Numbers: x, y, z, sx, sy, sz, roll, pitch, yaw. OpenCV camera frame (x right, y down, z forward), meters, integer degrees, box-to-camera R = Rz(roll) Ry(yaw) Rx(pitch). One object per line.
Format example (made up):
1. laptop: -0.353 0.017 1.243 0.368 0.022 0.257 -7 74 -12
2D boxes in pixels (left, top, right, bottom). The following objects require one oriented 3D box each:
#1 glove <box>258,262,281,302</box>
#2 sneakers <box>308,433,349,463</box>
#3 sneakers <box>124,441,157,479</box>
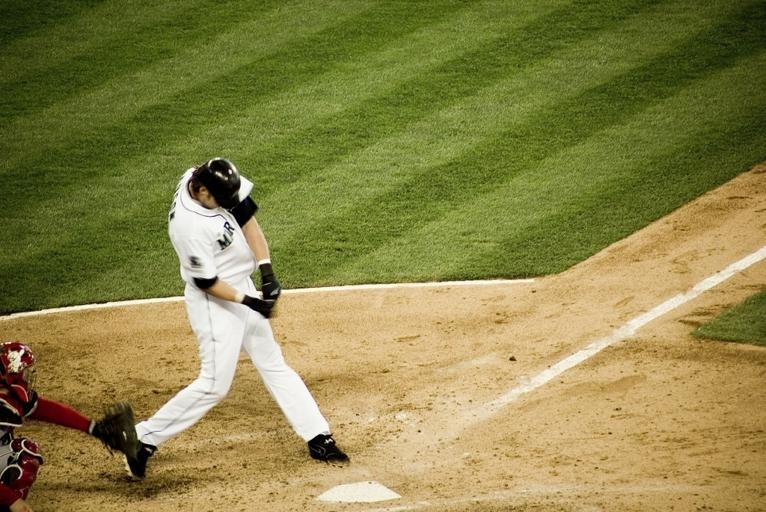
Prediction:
1. glove: -1.208 0.278 12.140 0.244 0.392 0.165 -9 -2 2
2. sneakers: -0.611 2.076 12.248 0.254 0.185 0.464 -2 3 -9
3. sneakers: -2.554 2.163 11.956 0.202 0.209 0.548 3 21 -2
